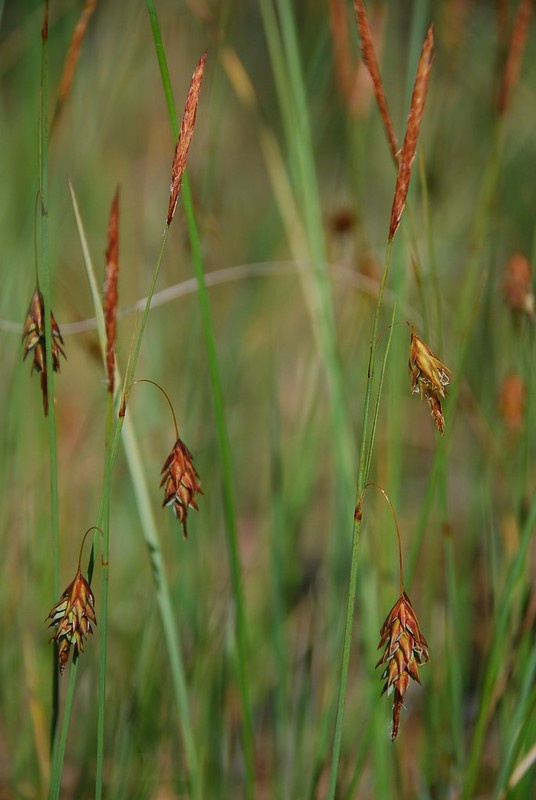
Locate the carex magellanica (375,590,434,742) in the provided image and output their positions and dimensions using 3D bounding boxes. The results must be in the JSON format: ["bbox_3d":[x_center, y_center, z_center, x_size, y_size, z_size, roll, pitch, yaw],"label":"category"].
[{"bbox_3d":[0.094,0.199,0.811,0.019,0.086,0.019,3,-11,-34],"label":"carex magellanica"}]

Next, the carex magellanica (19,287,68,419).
[{"bbox_3d":[-0.172,-0.043,0.854,0.013,0.110,0.019,-1,0,24],"label":"carex magellanica"}]

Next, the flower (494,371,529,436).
[{"bbox_3d":[0.207,0.003,0.953,0.024,0.042,0.014,-13,-17,12],"label":"flower"}]

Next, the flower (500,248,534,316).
[{"bbox_3d":[0.214,-0.096,0.956,0.016,0.070,0.013,-3,-7,-6],"label":"flower"}]

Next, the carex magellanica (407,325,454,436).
[{"bbox_3d":[0.118,-0.022,0.817,0.020,0.111,0.030,-9,3,9],"label":"carex magellanica"}]

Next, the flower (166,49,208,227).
[{"bbox_3d":[-0.063,-0.208,0.889,0.008,0.169,0.013,7,7,4],"label":"flower"}]

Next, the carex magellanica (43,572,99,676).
[{"bbox_3d":[-0.146,0.172,0.839,0.035,0.064,0.051,-3,-21,-16],"label":"carex magellanica"}]

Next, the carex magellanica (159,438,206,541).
[{"bbox_3d":[-0.060,0.053,0.858,0.024,0.053,0.073,0,-26,9],"label":"carex magellanica"}]
